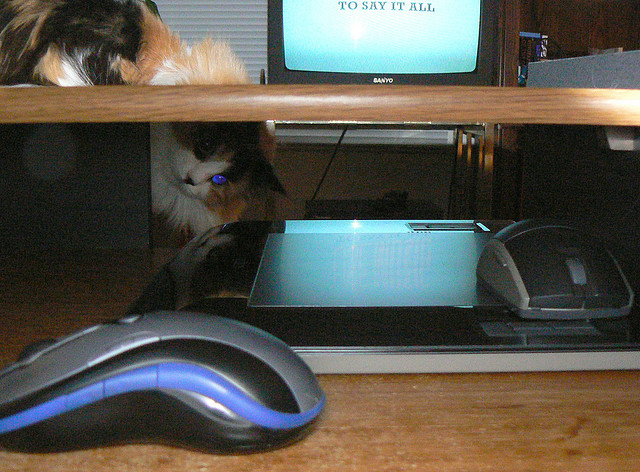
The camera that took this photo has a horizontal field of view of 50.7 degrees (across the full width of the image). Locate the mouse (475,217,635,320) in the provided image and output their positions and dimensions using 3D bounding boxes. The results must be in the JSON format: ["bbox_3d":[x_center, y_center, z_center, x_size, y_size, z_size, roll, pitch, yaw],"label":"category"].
[{"bbox_3d":[0.320,0.038,0.897,0.120,0.077,0.179,0,5,-3],"label":"mouse"}]
